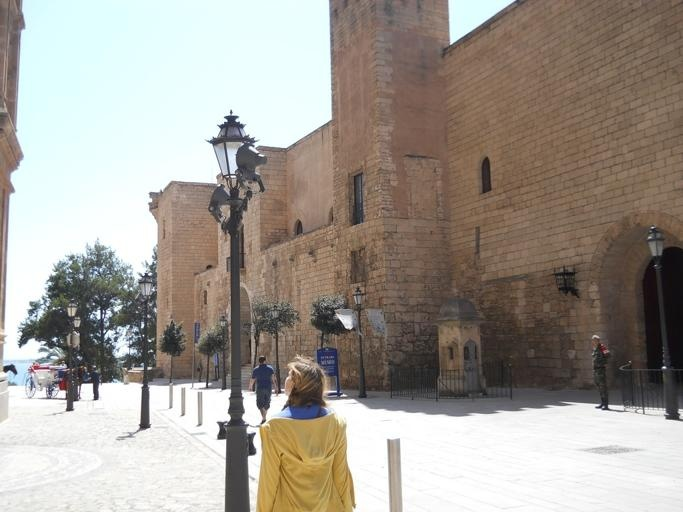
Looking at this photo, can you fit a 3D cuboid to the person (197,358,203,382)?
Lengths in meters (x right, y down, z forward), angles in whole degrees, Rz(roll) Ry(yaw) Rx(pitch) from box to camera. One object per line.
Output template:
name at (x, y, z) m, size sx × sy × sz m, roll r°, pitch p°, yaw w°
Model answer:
person at (-10.086, 8.065, 51.462) m, size 0.371 × 1.289 × 2.294 m, roll 1°, pitch -12°, yaw -12°

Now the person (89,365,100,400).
person at (-10.755, 5.632, 31.398) m, size 0.407 × 1.415 × 2.955 m, roll 3°, pitch -13°, yaw -19°

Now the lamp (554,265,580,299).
lamp at (7.346, 0.848, 23.632) m, size 0.466 × 1.091 × 0.783 m, roll 6°, pitch -13°, yaw -33°

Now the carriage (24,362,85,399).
carriage at (-13.833, 5.918, 34.422) m, size 2.594 × 1.391 × 1.420 m, roll -6°, pitch -1°, yaw 34°

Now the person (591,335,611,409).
person at (6.841, 3.080, 18.972) m, size 0.401 × 1.920 × 0.737 m, roll -5°, pitch -11°, yaw 19°
